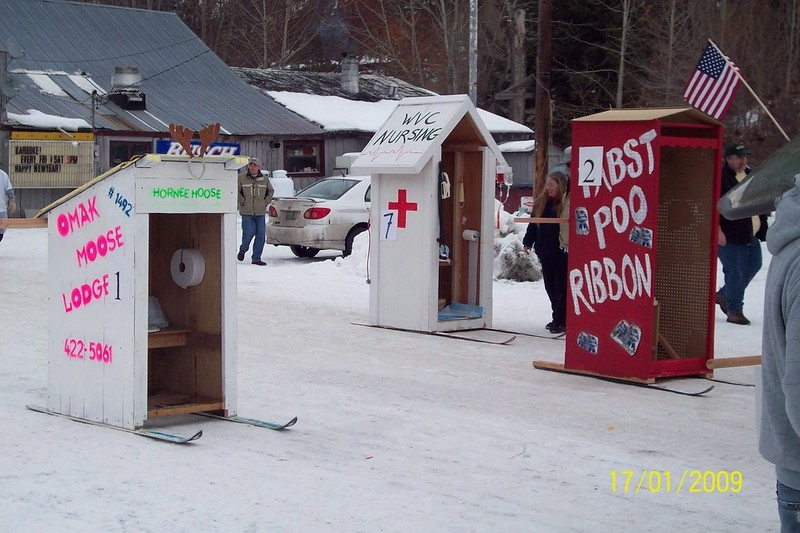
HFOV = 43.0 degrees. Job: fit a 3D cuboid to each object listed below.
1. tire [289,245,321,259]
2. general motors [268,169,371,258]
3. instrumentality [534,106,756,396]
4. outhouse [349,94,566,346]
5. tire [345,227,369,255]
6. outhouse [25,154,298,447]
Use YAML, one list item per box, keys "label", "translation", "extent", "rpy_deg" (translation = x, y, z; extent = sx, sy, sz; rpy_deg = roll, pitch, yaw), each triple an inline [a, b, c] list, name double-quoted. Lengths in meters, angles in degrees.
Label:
- label: "tire"
  translation: [-2.007, -0.279, 20.923]
  extent: [0.339, 0.347, 0.340]
  rpy_deg: [2, 3, 27]
- label: "general motors"
  translation: [-1.606, -1.023, 19.985]
  extent: [1.154, 0.892, 2.480]
  rpy_deg: [5, 12, 42]
- label: "instrumentality"
  translation: [2.670, -0.324, 11.666]
  extent: [1.749, 3.019, 1.567]
  rpy_deg: [1, 0, 35]
- label: "outhouse"
  translation: [0.459, -0.757, 14.076]
  extent: [1.867, 3.135, 1.359]
  rpy_deg: [-6, 9, -43]
- label: "tire"
  translation: [-0.829, -0.454, 19.372]
  extent: [0.177, 0.500, 0.493]
  rpy_deg: [14, 9, 34]
- label: "outhouse"
  translation: [-2.374, 0.204, 9.646]
  extent: [1.968, 2.532, 1.149]
  rpy_deg: [6, 11, 25]
